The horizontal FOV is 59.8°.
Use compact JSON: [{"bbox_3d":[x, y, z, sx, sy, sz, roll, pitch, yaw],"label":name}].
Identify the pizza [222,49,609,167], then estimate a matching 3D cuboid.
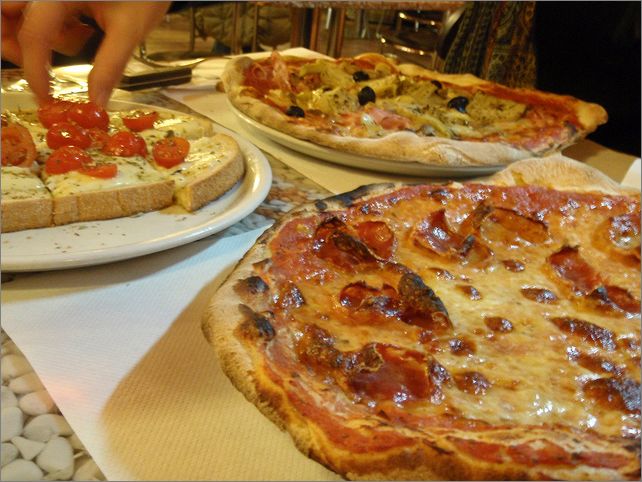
[{"bbox_3d":[0.297,-0.519,2.187,1.183,0.139,0.913,-8,25,-25],"label":"pizza"}]
